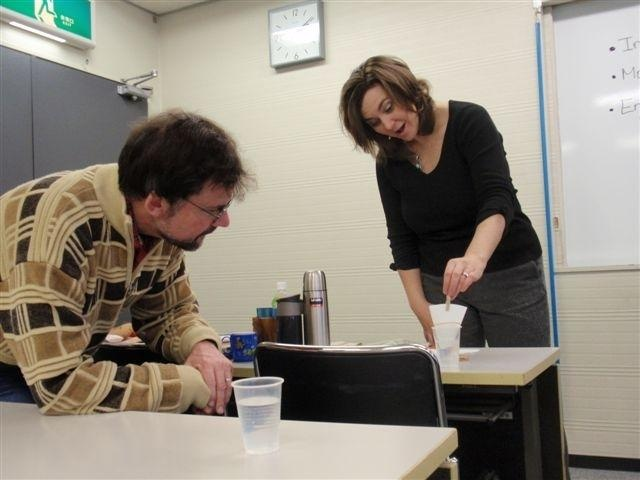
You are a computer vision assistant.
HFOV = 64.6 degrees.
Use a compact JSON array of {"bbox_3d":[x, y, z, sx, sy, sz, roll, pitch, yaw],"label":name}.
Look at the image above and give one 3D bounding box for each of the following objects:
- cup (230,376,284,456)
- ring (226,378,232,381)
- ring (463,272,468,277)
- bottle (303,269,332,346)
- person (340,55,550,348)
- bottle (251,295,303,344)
[{"bbox_3d":[-0.113,0.328,0.944,0.114,0.124,0.114,-5,-23,-2],"label":"cup"},{"bbox_3d":[-0.259,0.399,1.447,0.011,0.011,0.010,-1,2,-22],"label":"ring"},{"bbox_3d":[0.506,0.119,1.739,0.015,0.014,0.004,0,-23,2],"label":"ring"},{"bbox_3d":[-0.013,0.253,1.871,0.097,0.278,0.139,-1,0,-2],"label":"bottle"},{"bbox_3d":[0.511,-0.154,2.121,0.612,1.217,0.685,-1,-1,-43],"label":"person"},{"bbox_3d":[-0.147,0.300,1.894,0.228,0.235,0.130,-3,-8,19],"label":"bottle"}]
